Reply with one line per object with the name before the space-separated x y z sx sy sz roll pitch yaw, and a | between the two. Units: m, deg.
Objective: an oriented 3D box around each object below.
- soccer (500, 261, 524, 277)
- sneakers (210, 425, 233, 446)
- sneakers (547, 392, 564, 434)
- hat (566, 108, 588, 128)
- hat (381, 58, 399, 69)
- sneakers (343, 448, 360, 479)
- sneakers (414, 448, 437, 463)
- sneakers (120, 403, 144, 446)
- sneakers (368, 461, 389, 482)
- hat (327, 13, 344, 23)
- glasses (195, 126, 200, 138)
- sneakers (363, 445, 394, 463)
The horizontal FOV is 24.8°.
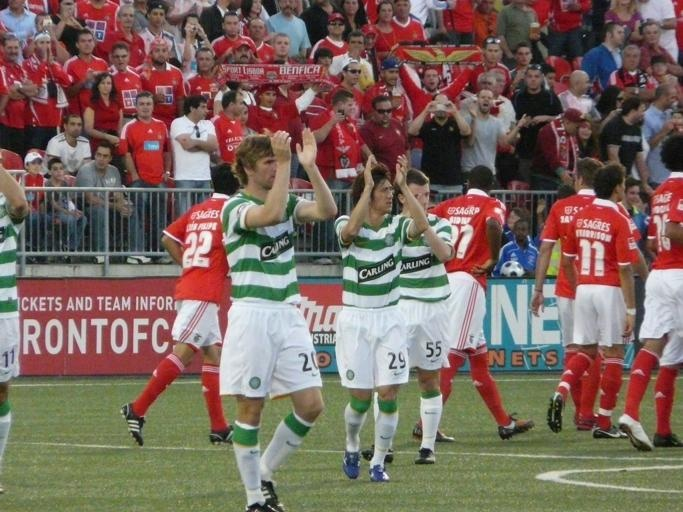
soccer | 2.662 0.237 24.226 0.236 0.300 0.269 9 20 19
sneakers | -1.460 2.236 19.268 0.363 0.242 0.143 -6 3 -22
sneakers | 2.695 1.959 19.451 0.155 0.557 0.235 1 2 25
hat | 3.759 -2.244 24.978 0.303 0.255 0.275 18 -41 1
hat | 0.803 -3.096 25.363 0.205 0.164 0.236 1 13 2
sneakers | 0.118 2.390 17.779 0.108 0.408 0.142 -3 2 -3
sneakers | 0.997 2.365 18.421 0.238 0.183 0.276 -1 1 2
sneakers | -2.499 2.062 18.766 0.254 0.516 0.241 -1 1 -10
sneakers | 0.438 2.476 17.720 0.227 0.187 0.246 -1 1 0
hat | -0.090 -3.939 25.927 0.206 0.152 0.334 1 7 -5
glasses | -2.203 -1.885 23.897 0.074 0.154 0.033 -9 8 -2
sneakers | 0.439 2.377 18.427 0.152 0.245 0.453 1 6 -31
